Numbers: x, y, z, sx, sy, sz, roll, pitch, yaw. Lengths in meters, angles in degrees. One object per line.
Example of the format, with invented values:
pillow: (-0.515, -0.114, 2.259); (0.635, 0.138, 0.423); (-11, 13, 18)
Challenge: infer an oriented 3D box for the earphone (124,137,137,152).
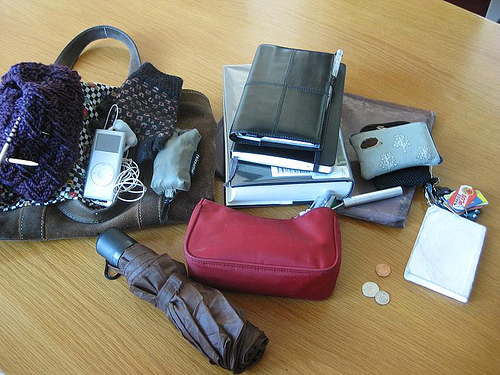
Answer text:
earphone: (-0.281, -0.108, 1.113); (0.018, 0.036, 0.033); (21, 30, 37)

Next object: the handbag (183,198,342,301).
handbag: (0.033, 0.126, 0.966); (0.309, 0.126, 0.186); (6, 59, 3)

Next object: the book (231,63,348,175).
book: (0.126, -0.148, 1.052); (0.315, 0.215, 0.159); (-10, 27, -29)

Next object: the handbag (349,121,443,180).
handbag: (0.341, -0.097, 1.113); (0.180, 0.046, 0.143); (-12, 61, 1)
